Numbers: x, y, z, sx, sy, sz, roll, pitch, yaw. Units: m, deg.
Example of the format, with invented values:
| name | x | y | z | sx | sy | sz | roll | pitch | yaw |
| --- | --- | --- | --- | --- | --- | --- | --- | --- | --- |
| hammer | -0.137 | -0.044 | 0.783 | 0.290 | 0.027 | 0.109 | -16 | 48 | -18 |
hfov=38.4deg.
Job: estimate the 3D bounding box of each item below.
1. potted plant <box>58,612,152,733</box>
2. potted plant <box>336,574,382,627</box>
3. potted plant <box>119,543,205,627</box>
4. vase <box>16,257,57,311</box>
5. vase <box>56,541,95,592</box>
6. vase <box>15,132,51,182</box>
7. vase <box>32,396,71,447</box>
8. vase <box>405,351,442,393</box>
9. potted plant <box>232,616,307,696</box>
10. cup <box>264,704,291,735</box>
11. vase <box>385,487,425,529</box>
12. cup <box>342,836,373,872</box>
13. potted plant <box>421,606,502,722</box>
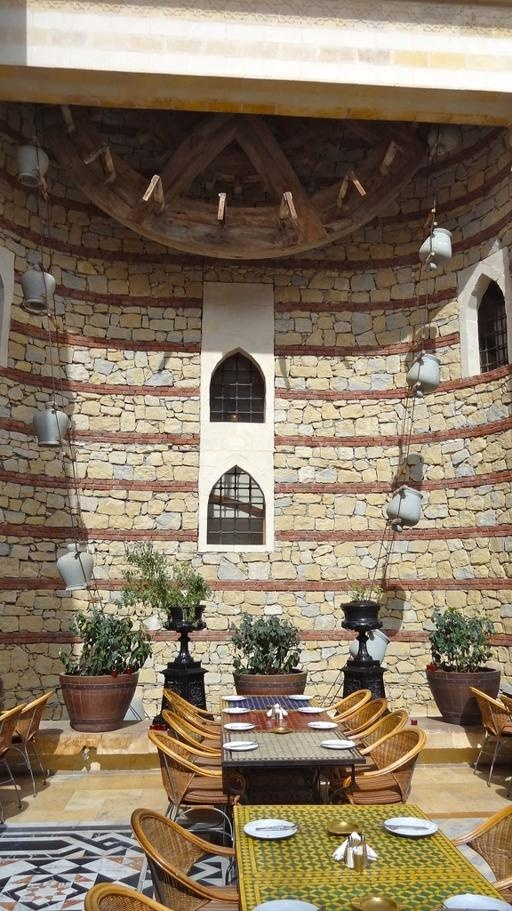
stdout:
| name | x | y | z | sx | sy | sz | roll | pitch | yaw |
| --- | --- | --- | --- | --- | --- | --- | --- | --- | --- |
| potted plant | -1.487 | 2.087 | 7.077 | 0.882 | 1.134 | 0.737 | -7 | -11 | 19 |
| potted plant | 1.162 | 1.626 | 8.188 | 0.465 | 0.552 | 0.518 | -14 | -25 | 40 |
| potted plant | -0.975 | 1.347 | 7.814 | 0.880 | 0.893 | 1.052 | 3 | -10 | 3 |
| vase | -2.345 | -1.846 | 7.901 | 0.314 | 0.452 | 0.353 | -3 | -11 | 9 |
| vase | -1.918 | 1.202 | 8.000 | 0.471 | 0.591 | 0.473 | -3 | 0 | -13 |
| vase | -2.455 | -3.249 | 8.062 | 0.304 | 0.537 | 0.254 | 5 | -13 | -27 |
| vase | -2.157 | -0.330 | 8.051 | 0.419 | 0.535 | 0.444 | 0 | -8 | 12 |
| vase | 1.916 | -0.951 | 8.485 | 0.339 | 0.457 | 0.333 | -11 | -15 | 41 |
| potted plant | 0.128 | 2.067 | 7.663 | 0.800 | 1.115 | 0.807 | 0 | -23 | 0 |
| cup | 0.135 | 1.588 | 4.421 | 0.113 | 0.134 | 0.118 | -2 | 0 | 0 |
| vase | 1.769 | 0.596 | 8.555 | 0.400 | 0.514 | 0.474 | -1 | -43 | 32 |
| cup | 0.276 | 1.092 | 2.015 | 0.084 | 0.104 | 0.077 | -1 | -14 | 0 |
| potted plant | 2.104 | 2.166 | 7.480 | 0.637 | 1.043 | 0.627 | -2 | -14 | 16 |
